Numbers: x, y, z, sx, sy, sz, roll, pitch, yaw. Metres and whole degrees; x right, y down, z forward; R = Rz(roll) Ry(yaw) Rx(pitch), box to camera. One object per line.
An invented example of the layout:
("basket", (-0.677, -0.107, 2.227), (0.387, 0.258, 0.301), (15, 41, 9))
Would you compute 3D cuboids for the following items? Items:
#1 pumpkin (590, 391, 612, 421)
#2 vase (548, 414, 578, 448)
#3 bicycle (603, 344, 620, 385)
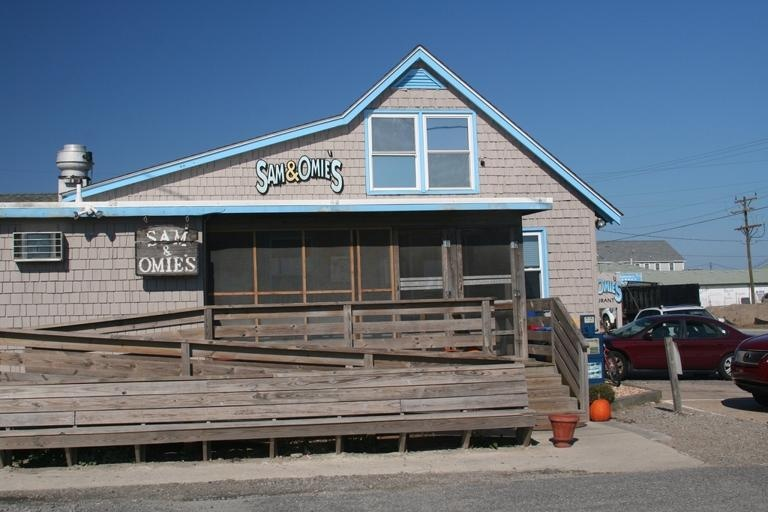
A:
("pumpkin", (4.233, 3.072, 19.299), (0.527, 0.496, 0.459), (-4, -4, 22))
("vase", (3.055, 3.159, 17.340), (0.751, 0.509, 0.588), (2, -9, -10))
("bicycle", (5.531, 2.664, 23.530), (0.336, 0.749, 1.238), (-1, 4, 13))
